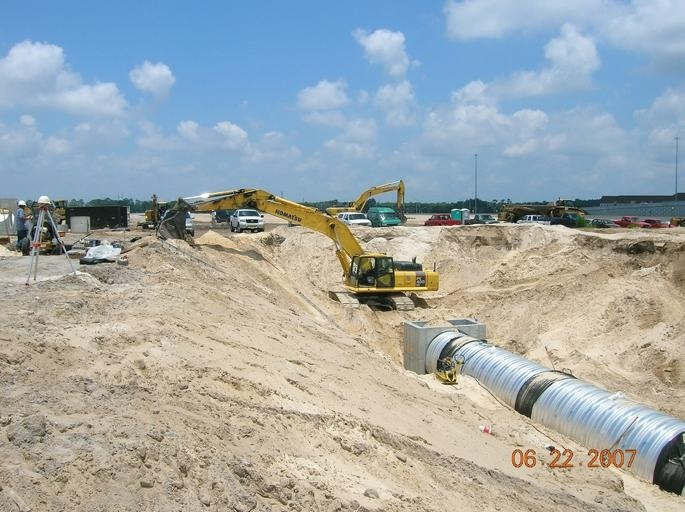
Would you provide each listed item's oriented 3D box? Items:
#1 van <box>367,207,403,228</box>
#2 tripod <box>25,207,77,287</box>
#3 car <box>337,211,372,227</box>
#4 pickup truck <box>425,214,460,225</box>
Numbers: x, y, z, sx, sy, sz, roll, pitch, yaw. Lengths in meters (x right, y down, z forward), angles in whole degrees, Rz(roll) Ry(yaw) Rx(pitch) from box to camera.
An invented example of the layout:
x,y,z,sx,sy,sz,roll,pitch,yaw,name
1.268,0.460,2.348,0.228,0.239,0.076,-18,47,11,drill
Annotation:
x,y,z,sx,sy,sz,roll,pitch,yaw,name
2.555,-2.433,34.214,1.242,0.927,1.903,-3,4,-18,van
-6.930,-0.440,12.384,1.360,1.810,1.395,4,7,3,tripod
0.704,-2.262,33.202,1.237,0.815,1.993,-3,4,-26,car
6.949,-2.548,39.227,1.930,0.722,1.032,1,3,5,pickup truck
